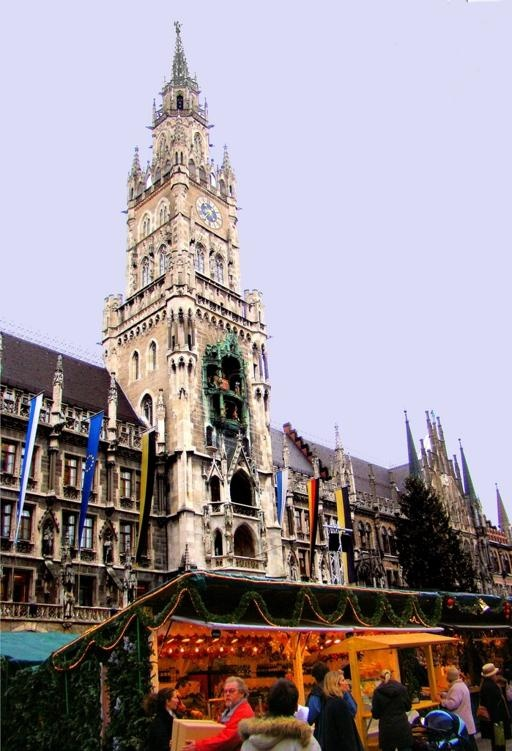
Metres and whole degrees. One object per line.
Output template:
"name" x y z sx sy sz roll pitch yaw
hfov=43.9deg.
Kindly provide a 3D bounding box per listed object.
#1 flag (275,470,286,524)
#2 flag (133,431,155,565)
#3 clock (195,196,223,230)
"flag" 1.480 6.831 36.150 0.677 3.253 1.122 -3 -22 0
"flag" -5.147 5.877 29.574 0.256 7.953 3.872 6 -19 -23
"clock" -3.098 -10.836 42.739 0.208 2.343 2.339 -18 -27 33
